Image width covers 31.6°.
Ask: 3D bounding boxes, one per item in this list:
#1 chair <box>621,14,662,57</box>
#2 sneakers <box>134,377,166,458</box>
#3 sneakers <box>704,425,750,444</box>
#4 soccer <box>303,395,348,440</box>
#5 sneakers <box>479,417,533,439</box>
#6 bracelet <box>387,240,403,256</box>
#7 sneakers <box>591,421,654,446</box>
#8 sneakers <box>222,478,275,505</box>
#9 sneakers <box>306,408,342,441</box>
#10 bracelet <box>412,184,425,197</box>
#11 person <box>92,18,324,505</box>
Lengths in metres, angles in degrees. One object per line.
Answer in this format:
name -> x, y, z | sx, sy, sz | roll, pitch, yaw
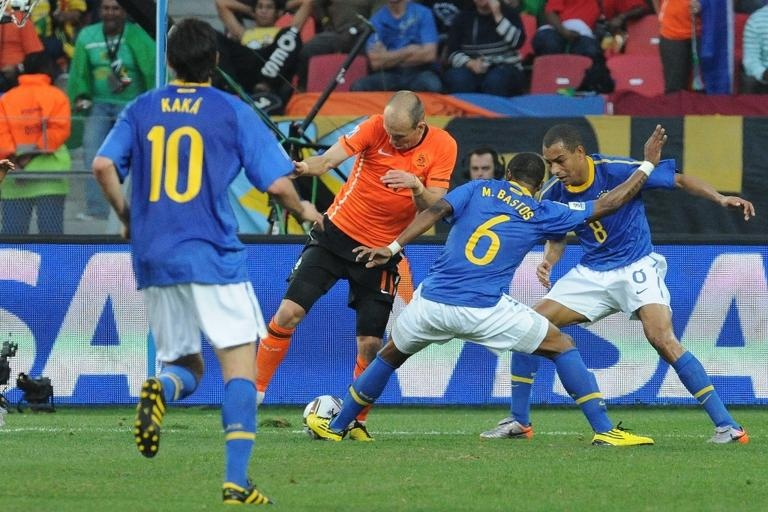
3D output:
chair -> 2.990, -2.587, 15.639 | 0.413, 0.552, 0.454 | 1, 8, 7
sneakers -> -1.685, 1.225, 10.208 | 0.203, 0.608, 0.291 | 0, -13, 7
sneakers -> 2.959, 1.561, 11.669 | 0.368, 0.160, 0.126 | 0, -4, 2
soccer -> -0.521, 1.405, 11.987 | 0.369, 0.307, 0.290 | -19, 26, -7
sneakers -> 1.135, 1.547, 12.068 | 0.515, 0.220, 0.179 | 3, -8, -2
bracelet -> 0.105, -0.079, 11.372 | 0.106, 0.127, 0.120 | -5, 23, -29
sneakers -> 2.028, 1.534, 11.614 | 0.603, 0.246, 0.199 | -1, -5, 0
sneakers -> -0.943, 1.750, 9.957 | 0.389, 0.165, 0.140 | 10, -5, -26
sneakers -> -0.494, 1.491, 11.757 | 0.395, 0.192, 0.143 | 27, 9, 5
bracelet -> 0.309, -0.554, 11.516 | 0.095, 0.096, 0.092 | -18, -13, 40
person -> -1.370, 0.006, 10.169 | 1.389, 3.576, 0.562 | 3, 3, 14
